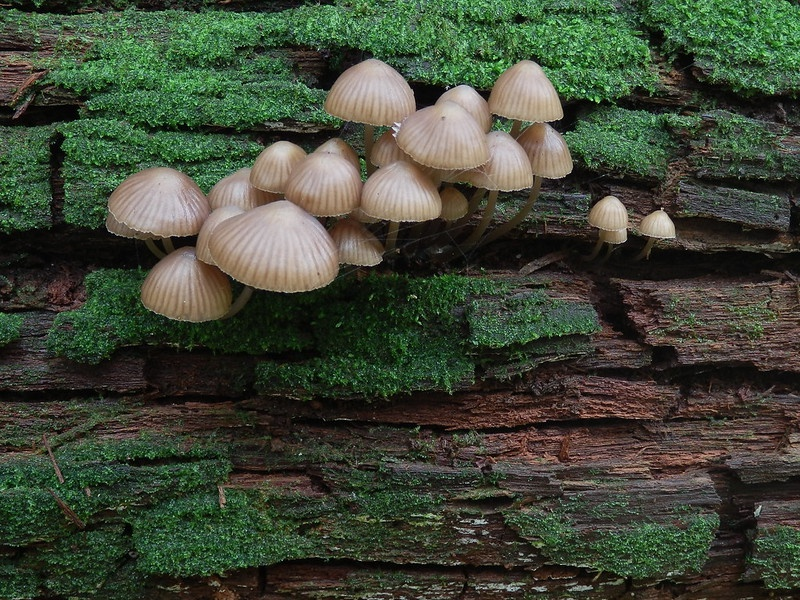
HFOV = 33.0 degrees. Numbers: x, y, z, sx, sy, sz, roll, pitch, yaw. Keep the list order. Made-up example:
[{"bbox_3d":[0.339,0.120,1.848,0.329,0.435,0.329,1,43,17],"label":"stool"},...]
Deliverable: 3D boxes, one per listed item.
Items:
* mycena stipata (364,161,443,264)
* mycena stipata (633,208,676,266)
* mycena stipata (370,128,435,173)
[{"bbox_3d":[-0.010,-0.795,11.045,0.802,0.600,0.566,-4,37,-7],"label":"mycena stipata"},{"bbox_3d":[2.273,-0.537,12.090,0.358,0.558,0.298,10,35,5],"label":"mycena stipata"},{"bbox_3d":[-0.117,-1.248,11.345,0.552,0.170,0.417,17,25,-8],"label":"mycena stipata"}]
